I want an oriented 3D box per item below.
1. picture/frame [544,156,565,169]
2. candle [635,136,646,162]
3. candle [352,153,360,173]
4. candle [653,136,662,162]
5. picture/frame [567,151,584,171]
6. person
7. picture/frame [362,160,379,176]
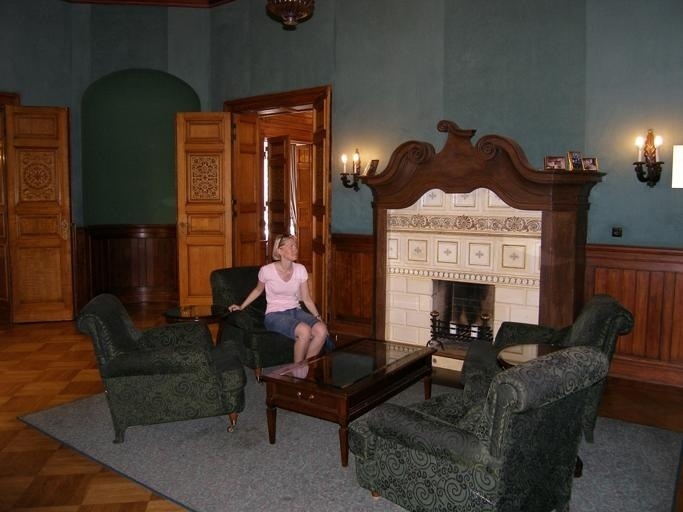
[{"bbox_3d":[2.022,-0.877,5.025,0.181,0.129,0.103,0,-1,6],"label":"picture/frame"},{"bbox_3d":[2.751,-0.971,4.858,0.104,0.240,0.174,5,12,28],"label":"candle"},{"bbox_3d":[0.180,-1.093,6.238,0.087,0.254,0.102,0,11,2],"label":"candle"},{"bbox_3d":[2.852,-0.965,4.776,0.069,0.224,0.196,6,13,31],"label":"candle"},{"bbox_3d":[2.210,-0.894,4.994,0.140,0.142,0.139,2,11,13],"label":"picture/frame"},{"bbox_3d":[-0.519,0.478,4.717,0.722,1.288,0.764,-7,9,-44],"label":"person"},{"bbox_3d":[0.328,-1.018,6.105,0.189,0.169,0.227,2,11,13],"label":"picture/frame"}]
